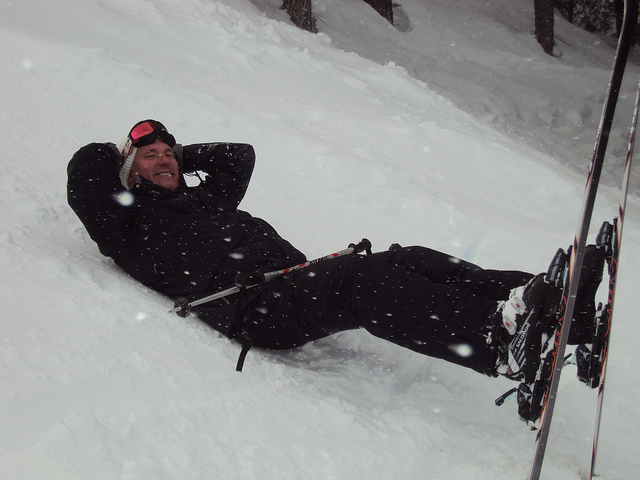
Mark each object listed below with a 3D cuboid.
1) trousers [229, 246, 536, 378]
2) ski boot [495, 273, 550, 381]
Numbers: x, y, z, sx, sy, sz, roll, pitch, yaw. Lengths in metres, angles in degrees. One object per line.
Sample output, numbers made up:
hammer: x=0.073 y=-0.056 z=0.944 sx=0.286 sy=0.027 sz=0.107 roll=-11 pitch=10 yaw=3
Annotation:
trousers: x=0.343 y=0.307 z=3.568 sx=1.647 sy=0.446 sz=0.735 roll=3 pitch=19 yaw=25
ski boot: x=0.916 y=0.398 z=3.028 sx=0.175 sy=0.498 sz=0.296 roll=17 pitch=34 yaw=4
